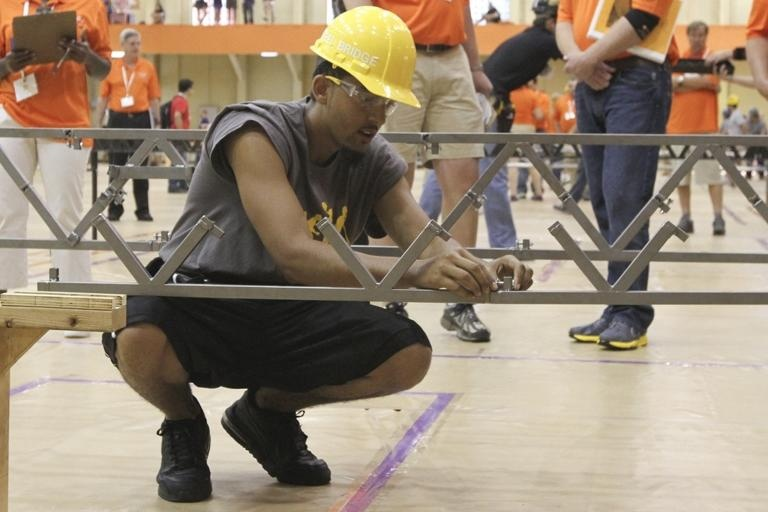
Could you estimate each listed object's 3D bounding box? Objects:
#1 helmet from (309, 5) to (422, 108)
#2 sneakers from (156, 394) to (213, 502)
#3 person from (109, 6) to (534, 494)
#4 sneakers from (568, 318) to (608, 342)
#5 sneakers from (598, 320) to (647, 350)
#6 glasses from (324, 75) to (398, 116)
[{"bbox_3d":[-0.050,-0.819,4.583,0.475,0.251,0.347,29,16,22],"label":"helmet"},{"bbox_3d":[-0.841,0.796,4.616,0.223,0.397,0.217,0,11,-10],"label":"sneakers"},{"bbox_3d":[-0.385,-0.008,4.562,1.460,2.022,0.612,-1,11,-13],"label":"person"},{"bbox_3d":[1.176,0.437,6.388,0.236,0.091,0.110,0,-4,10],"label":"sneakers"},{"bbox_3d":[1.340,0.436,6.204,0.303,0.134,0.132,6,-9,-45],"label":"sneakers"},{"bbox_3d":[-0.086,-0.673,4.500,0.197,0.053,0.196,35,11,28],"label":"glasses"}]
